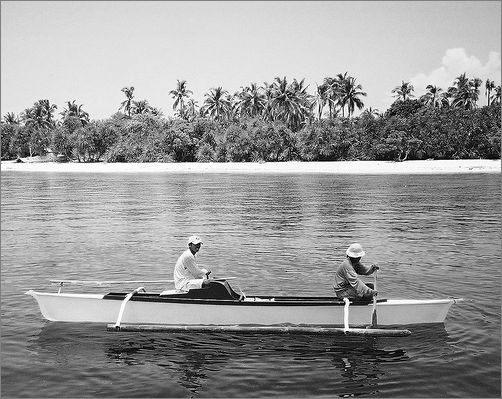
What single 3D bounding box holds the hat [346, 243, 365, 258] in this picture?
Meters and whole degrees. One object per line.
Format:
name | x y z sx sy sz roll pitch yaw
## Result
hat | 2.741 1.355 17.847 0.384 0.428 0.565 -2 11 4
